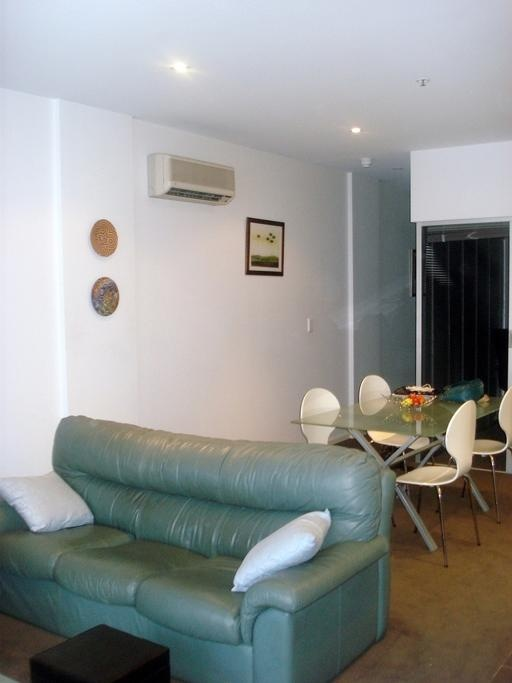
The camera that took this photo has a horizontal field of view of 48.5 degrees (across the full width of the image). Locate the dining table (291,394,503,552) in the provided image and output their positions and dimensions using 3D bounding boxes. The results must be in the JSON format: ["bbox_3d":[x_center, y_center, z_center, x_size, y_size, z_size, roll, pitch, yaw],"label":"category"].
[{"bbox_3d":[0.857,0.530,3.589,0.797,0.678,1.492,2,9,35],"label":"dining table"}]

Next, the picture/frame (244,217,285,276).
[{"bbox_3d":[0.059,-0.863,5.164,0.044,0.587,0.630,0,1,40],"label":"picture/frame"}]

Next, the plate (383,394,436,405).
[{"bbox_3d":[1.075,0.410,3.927,0.173,0.033,0.162,-2,2,-25],"label":"plate"}]

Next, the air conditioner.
[{"bbox_3d":[-0.491,-1.210,4.263,0.264,0.337,0.729,-3,8,35],"label":"air conditioner"}]
